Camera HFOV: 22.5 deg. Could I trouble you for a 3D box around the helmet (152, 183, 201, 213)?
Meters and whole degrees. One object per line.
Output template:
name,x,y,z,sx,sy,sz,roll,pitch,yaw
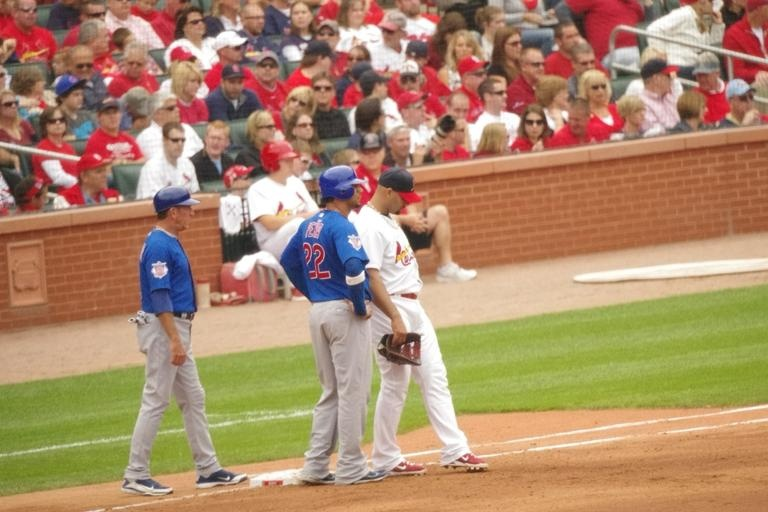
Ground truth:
helmet,-2.936,-0.797,26.801,0.505,0.244,0.349,-12,12,-11

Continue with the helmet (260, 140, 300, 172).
helmet,-1.721,-1.631,30.894,0.594,0.308,0.402,-21,18,-21

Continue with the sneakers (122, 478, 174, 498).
sneakers,-3.276,3.156,26.531,0.652,0.279,0.258,1,-1,-1

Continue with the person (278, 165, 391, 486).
person,-0.712,0.948,26.340,1.157,4.247,0.631,-5,7,3

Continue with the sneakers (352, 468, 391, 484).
sneakers,-0.170,2.963,26.441,0.474,0.200,0.171,-12,16,-13

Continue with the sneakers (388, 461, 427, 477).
sneakers,0.326,2.895,26.605,0.573,0.242,0.197,-2,1,1

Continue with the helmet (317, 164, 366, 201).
helmet,-0.610,-1.011,26.471,0.574,0.343,0.376,-4,9,-5

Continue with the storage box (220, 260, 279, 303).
storage box,-2.335,0.367,32.335,1.288,0.831,0.984,-2,-1,-3

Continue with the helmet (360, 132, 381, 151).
helmet,-0.213,-1.798,30.626,0.372,0.278,0.430,-6,7,-1

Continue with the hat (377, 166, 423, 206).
hat,0.250,-0.991,26.616,0.702,0.386,0.454,20,6,14
